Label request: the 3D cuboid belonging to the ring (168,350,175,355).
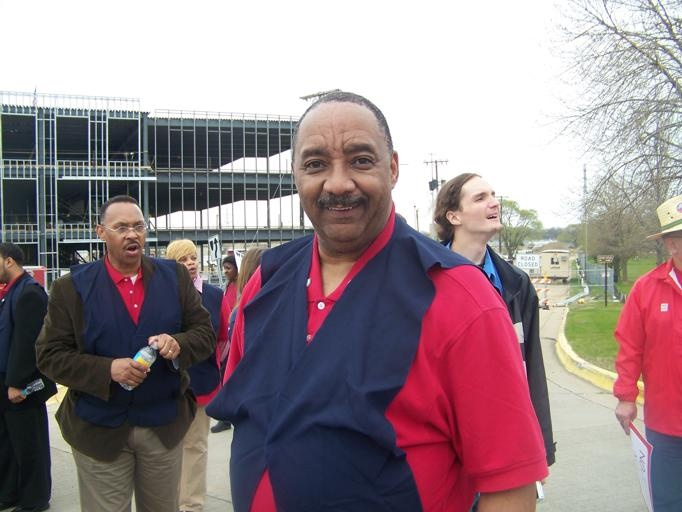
[{"bbox_3d":[-1.398,0.794,4.452,0.028,0.032,0.030,-1,-15,0],"label":"ring"}]
